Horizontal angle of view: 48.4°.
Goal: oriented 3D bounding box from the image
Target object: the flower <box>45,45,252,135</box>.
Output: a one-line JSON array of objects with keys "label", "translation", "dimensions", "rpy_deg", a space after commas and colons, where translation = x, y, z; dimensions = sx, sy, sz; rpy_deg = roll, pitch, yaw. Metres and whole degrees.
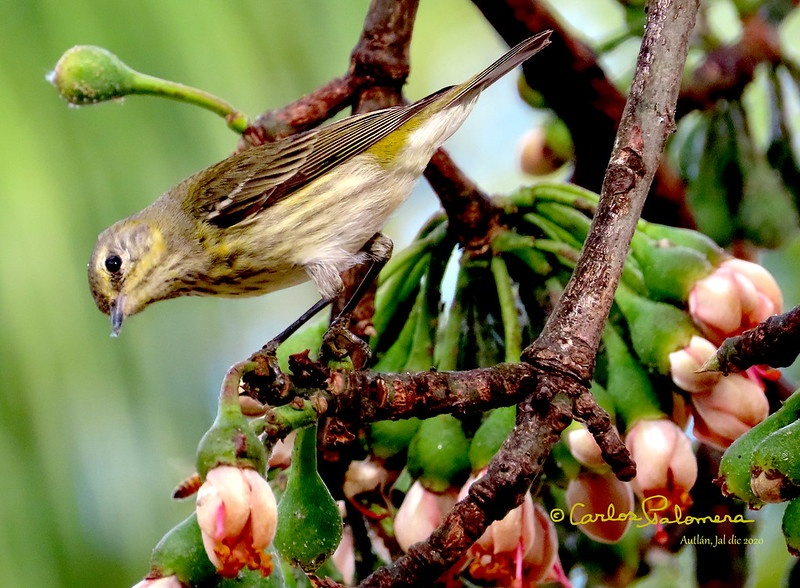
[{"label": "flower", "translation": [-0.663, -0.555, 2.522], "dimensions": [0.607, 0.189, 0.196], "rpy_deg": [15, 3, -20]}]
